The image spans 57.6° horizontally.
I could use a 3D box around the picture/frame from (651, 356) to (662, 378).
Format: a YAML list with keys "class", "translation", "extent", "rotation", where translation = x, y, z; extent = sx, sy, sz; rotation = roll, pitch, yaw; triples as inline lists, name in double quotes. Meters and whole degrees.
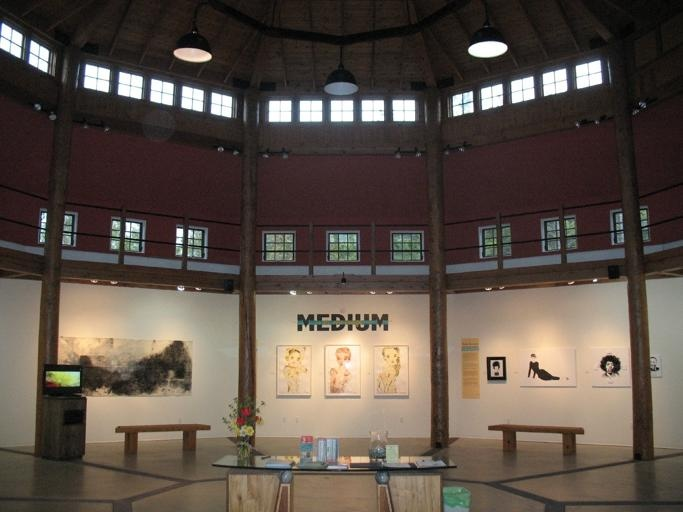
- class: "picture/frame"
  translation: [8.175, 2.923, 16.186]
  extent: [0.060, 0.634, 0.511]
  rotation: [6, -7, -22]

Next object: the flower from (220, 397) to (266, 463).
- class: "flower"
  translation: [-1.714, 3.108, 11.116]
  extent: [0.375, 0.635, 0.436]
  rotation: [2, -29, 13]

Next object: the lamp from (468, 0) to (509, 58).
- class: "lamp"
  translation: [2.787, -4.292, 11.879]
  extent: [0.601, 0.819, 0.517]
  rotation: [4, -12, -19]

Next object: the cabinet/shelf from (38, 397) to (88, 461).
- class: "cabinet/shelf"
  translation: [-6.614, 4.070, 14.763]
  extent: [0.921, 1.391, 0.909]
  rotation: [7, -11, -36]

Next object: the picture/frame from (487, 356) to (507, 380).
- class: "picture/frame"
  translation: [4.423, 3.229, 17.725]
  extent: [0.599, 0.789, 0.057]
  rotation: [-3, -11, 24]
